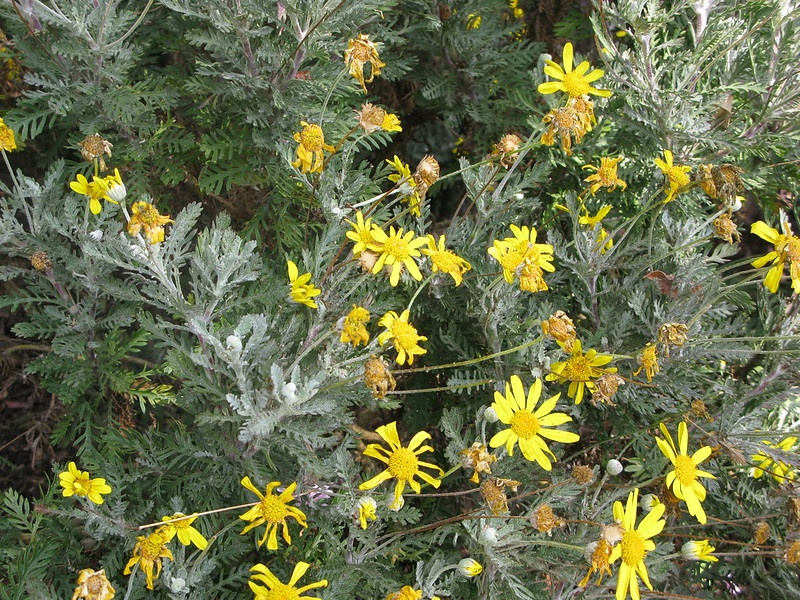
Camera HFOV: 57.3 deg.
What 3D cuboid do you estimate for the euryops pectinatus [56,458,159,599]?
[{"bbox_3d":[-0.786,0.621,1.964,0.208,0.351,0.264,28,94,-21],"label":"euryops pectinatus"}]

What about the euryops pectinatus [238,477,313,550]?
[{"bbox_3d":[-0.354,0.613,1.981,0.156,0.541,0.186,0,60,-13],"label":"euryops pectinatus"}]

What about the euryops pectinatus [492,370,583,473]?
[{"bbox_3d":[0.344,0.332,1.952,0.233,0.174,0.221,17,59,-4],"label":"euryops pectinatus"}]
